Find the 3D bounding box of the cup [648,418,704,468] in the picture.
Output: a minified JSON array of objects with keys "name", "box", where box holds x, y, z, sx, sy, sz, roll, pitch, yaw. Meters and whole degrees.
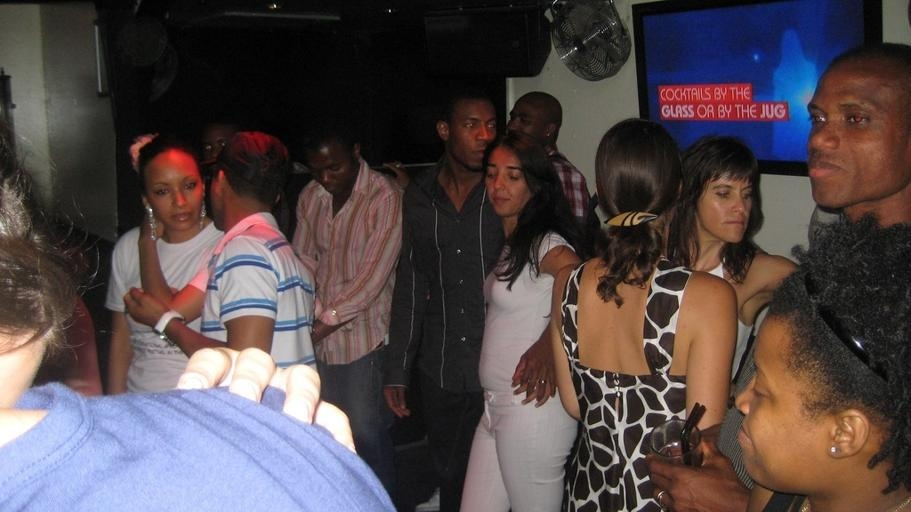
[{"name":"cup","box":[0.853,0.727,2.732,0.156,0.151,0.180,-16,40,27]}]
